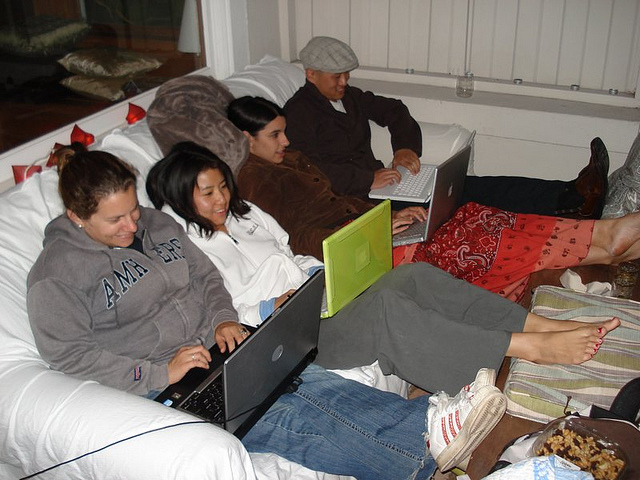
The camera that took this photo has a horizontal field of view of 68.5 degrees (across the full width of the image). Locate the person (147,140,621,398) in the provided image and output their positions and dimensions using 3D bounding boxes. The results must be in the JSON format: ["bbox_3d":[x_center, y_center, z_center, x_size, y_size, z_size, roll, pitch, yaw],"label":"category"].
[{"bbox_3d":[0.239,-0.081,2.290,2.061,1.183,0.988,4,28,23],"label":"person"}]

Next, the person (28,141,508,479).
[{"bbox_3d":[-0.323,0.070,1.958,1.988,1.214,0.964,11,27,11],"label":"person"}]

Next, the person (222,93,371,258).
[{"bbox_3d":[-0.080,-0.338,2.667,0.766,0.941,0.622,-3,9,35],"label":"person"}]

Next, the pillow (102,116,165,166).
[{"bbox_3d":[-0.889,-0.490,2.290,0.274,0.088,0.264,28,59,7],"label":"pillow"}]

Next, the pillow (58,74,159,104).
[{"bbox_3d":[-1.218,-0.871,2.558,0.300,0.065,0.308,30,41,24],"label":"pillow"}]

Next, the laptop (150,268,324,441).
[{"bbox_3d":[-0.293,0.345,1.694,0.359,0.394,0.534,18,33,26],"label":"laptop"}]

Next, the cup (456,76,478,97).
[{"bbox_3d":[1.164,-1.224,3.741,0.154,0.247,0.130,0,17,12],"label":"cup"}]

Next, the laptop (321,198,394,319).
[{"bbox_3d":[0.168,0.103,2.101,0.291,0.304,0.413,19,39,36],"label":"laptop"}]

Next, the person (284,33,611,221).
[{"bbox_3d":[0.732,-0.720,3.045,2.022,1.245,0.937,8,22,29],"label":"person"}]

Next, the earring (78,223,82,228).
[{"bbox_3d":[-0.886,-0.052,1.739,0.012,0.018,0.005,2,8,18],"label":"earring"}]
